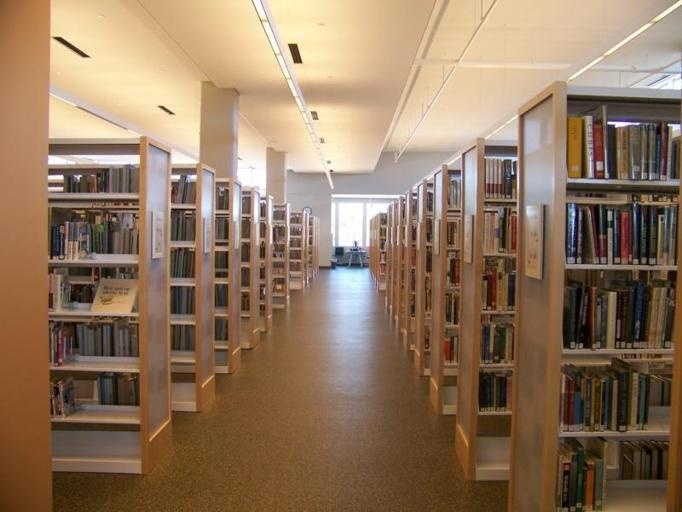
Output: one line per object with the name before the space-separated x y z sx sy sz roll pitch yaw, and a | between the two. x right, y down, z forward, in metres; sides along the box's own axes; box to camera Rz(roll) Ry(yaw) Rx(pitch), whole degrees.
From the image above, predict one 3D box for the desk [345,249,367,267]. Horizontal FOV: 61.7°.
desk | 0.634 0.030 25.060 1.016 0.895 1.014 3 9 14
